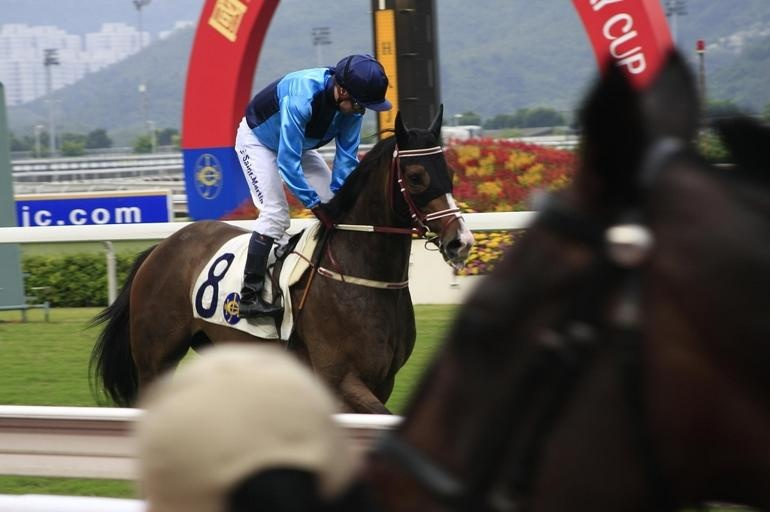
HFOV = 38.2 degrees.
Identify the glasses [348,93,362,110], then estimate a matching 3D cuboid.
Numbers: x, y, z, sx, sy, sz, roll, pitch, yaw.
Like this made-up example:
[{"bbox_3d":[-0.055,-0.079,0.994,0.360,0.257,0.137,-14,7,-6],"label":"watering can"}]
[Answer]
[{"bbox_3d":[-0.106,-0.571,4.120,0.050,0.039,0.040,39,-10,34],"label":"glasses"}]
